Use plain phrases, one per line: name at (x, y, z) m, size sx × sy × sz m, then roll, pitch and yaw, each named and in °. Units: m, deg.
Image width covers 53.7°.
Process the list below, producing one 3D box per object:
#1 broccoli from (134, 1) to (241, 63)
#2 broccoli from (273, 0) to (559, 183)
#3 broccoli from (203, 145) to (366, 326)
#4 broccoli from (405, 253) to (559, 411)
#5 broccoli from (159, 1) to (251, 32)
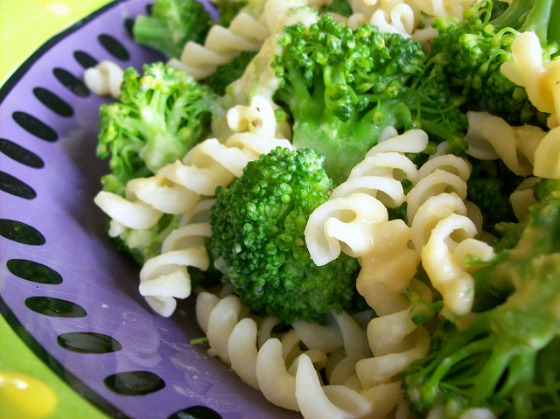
broccoli at (-0.337, -0.613, 1.857) m, size 0.271 × 0.228 × 0.137 m, roll -8°, pitch 34°, yaw -15°
broccoli at (0.345, -0.264, 1.369) m, size 0.559 × 0.279 × 0.393 m, roll -16°, pitch 59°, yaw 7°
broccoli at (0.021, 0.077, 1.310) m, size 0.365 × 0.205 × 0.389 m, roll -24°, pitch 93°, yaw 7°
broccoli at (0.383, 0.264, 1.097) m, size 0.266 × 0.087 × 0.306 m, roll -2°, pitch 96°, yaw 19°
broccoli at (-0.248, -0.620, 1.777) m, size 0.166 × 0.047 × 0.192 m, roll -6°, pitch 33°, yaw 33°
